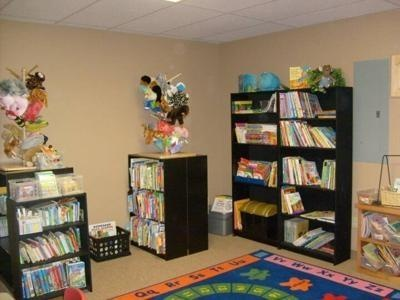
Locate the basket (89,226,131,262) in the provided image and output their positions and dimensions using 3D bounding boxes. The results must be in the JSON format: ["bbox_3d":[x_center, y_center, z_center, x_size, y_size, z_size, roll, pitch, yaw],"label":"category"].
[{"bbox_3d":[-1.307,1.273,4.386,0.426,0.254,0.415,-5,9,-36],"label":"basket"}]

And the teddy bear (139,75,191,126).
[{"bbox_3d":[-0.492,-0.703,4.338,0.742,0.631,0.357,20,18,12],"label":"teddy bear"}]

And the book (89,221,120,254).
[{"bbox_3d":[-1.386,1.256,4.513,0.387,0.233,0.378,-1,0,-33],"label":"book"}]

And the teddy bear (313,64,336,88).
[{"bbox_3d":[1.632,-0.958,4.036,0.236,0.270,0.094,0,6,19],"label":"teddy bear"}]

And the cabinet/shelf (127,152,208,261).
[{"bbox_3d":[-0.518,0.771,4.501,1.140,1.431,0.627,1,6,25],"label":"cabinet/shelf"}]
